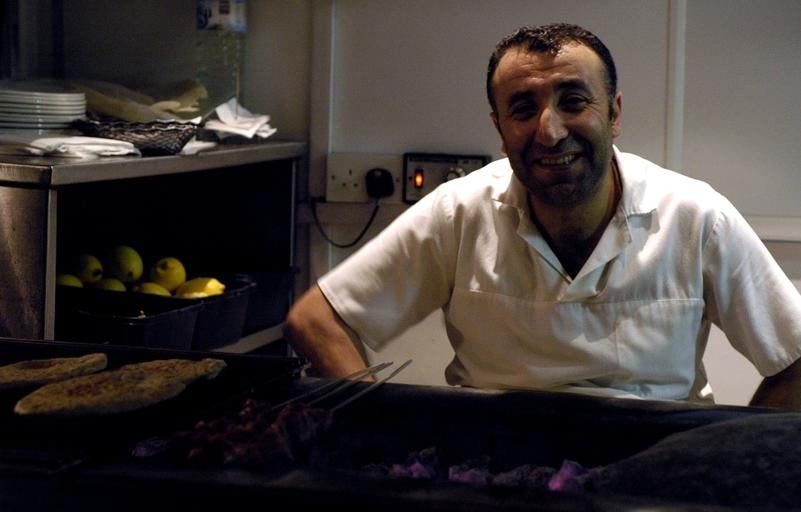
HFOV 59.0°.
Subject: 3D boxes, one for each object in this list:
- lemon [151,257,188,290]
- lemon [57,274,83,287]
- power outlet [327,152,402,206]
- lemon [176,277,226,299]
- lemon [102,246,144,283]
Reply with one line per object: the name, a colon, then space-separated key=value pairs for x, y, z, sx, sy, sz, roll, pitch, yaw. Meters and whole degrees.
lemon: x=-0.621 y=0.045 z=1.894 sx=0.086 sy=0.086 sz=0.085 roll=0 pitch=-1 yaw=8
lemon: x=-0.779 y=0.060 z=1.659 sx=0.046 sy=0.043 sz=0.044 roll=-11 pitch=-2 yaw=-23
power outlet: x=-0.143 y=-0.238 z=2.275 sx=0.244 sy=0.158 sz=0.058 roll=1 pitch=0 yaw=9
lemon: x=-0.532 y=0.083 z=1.862 sx=0.089 sy=0.054 sz=0.066 roll=-7 pitch=-3 yaw=-7
lemon: x=-0.726 y=0.010 z=1.878 sx=0.077 sy=0.076 sz=0.099 roll=27 pitch=8 yaw=-47
